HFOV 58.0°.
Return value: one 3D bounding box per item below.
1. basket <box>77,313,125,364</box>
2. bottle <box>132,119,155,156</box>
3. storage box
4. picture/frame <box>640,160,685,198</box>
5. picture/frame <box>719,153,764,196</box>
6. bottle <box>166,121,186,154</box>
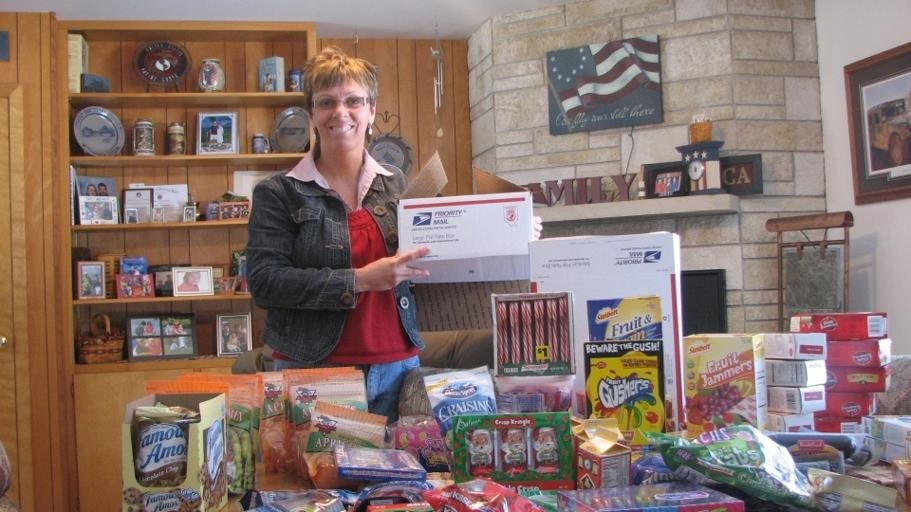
[{"bbox_3d":[-2.716,0.656,6.333,0.470,0.399,0.292,-3,-5,10],"label":"basket"},{"bbox_3d":[-2.433,-0.924,6.435,0.156,0.297,0.157,-5,-2,0],"label":"bottle"},{"bbox_3d":[0.046,-0.113,4.311,0.974,0.556,0.617,-2,-18,1],"label":"storage box"},{"bbox_3d":[1.675,-0.616,6.621,0.320,0.250,0.100,-7,-16,24],"label":"picture/frame"},{"bbox_3d":[2.283,-0.655,6.557,0.409,0.319,0.043,-1,3,12],"label":"picture/frame"},{"bbox_3d":[-2.203,-0.929,6.492,0.135,0.172,0.112,-4,-2,-17],"label":"bottle"}]
